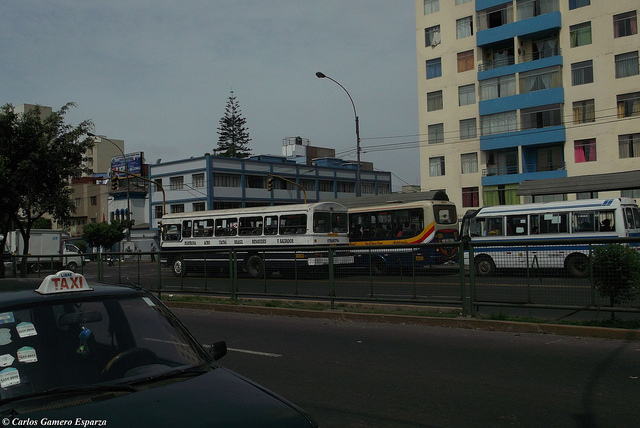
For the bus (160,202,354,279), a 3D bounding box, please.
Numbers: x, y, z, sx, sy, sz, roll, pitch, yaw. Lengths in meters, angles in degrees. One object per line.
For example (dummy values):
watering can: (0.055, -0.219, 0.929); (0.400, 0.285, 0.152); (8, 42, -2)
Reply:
bus: (-4.139, 1.032, 27.438); (10.453, 2.715, 2.829); (-2, -2, 31)
